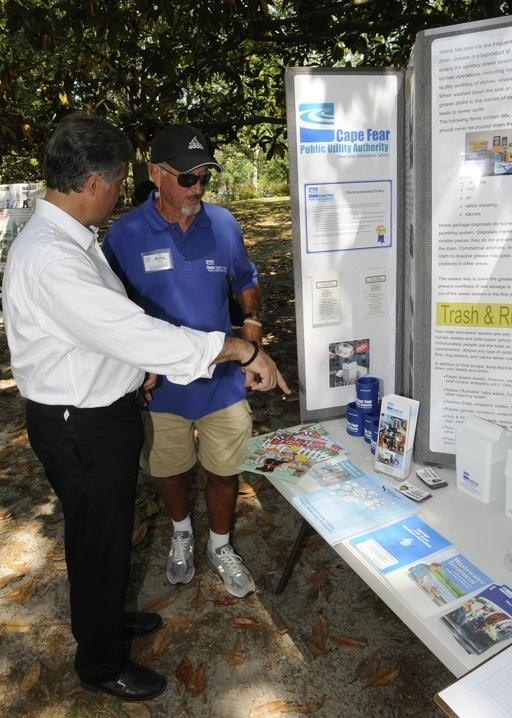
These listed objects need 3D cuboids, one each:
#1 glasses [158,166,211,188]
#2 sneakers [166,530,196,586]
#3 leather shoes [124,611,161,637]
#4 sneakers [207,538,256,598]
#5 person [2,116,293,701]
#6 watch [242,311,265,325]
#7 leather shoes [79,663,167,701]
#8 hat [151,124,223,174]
[{"bbox_3d":[-0.287,-0.749,2.258,0.157,0.045,0.126,34,40,32],"label":"glasses"},{"bbox_3d":[-0.369,1.016,2.866,0.122,0.128,0.293,-1,24,-1],"label":"sneakers"},{"bbox_3d":[-0.519,1.221,2.557,0.213,0.121,0.072,-8,41,-4],"label":"leather shoes"},{"bbox_3d":[-0.132,1.045,2.839,0.135,0.145,0.328,-21,45,-35],"label":"sneakers"},{"bbox_3d":[-0.469,0.303,1.979,0.601,2.192,0.528,10,23,32],"label":"person"},{"bbox_3d":[-0.012,-0.199,2.626,0.073,0.068,0.072,-11,51,-24],"label":"watch"},{"bbox_3d":[-0.527,1.280,2.244,0.324,0.131,0.150,0,14,2],"label":"leather shoes"},{"bbox_3d":[-0.286,-0.870,2.290,0.298,0.157,0.211,27,41,31],"label":"hat"}]
